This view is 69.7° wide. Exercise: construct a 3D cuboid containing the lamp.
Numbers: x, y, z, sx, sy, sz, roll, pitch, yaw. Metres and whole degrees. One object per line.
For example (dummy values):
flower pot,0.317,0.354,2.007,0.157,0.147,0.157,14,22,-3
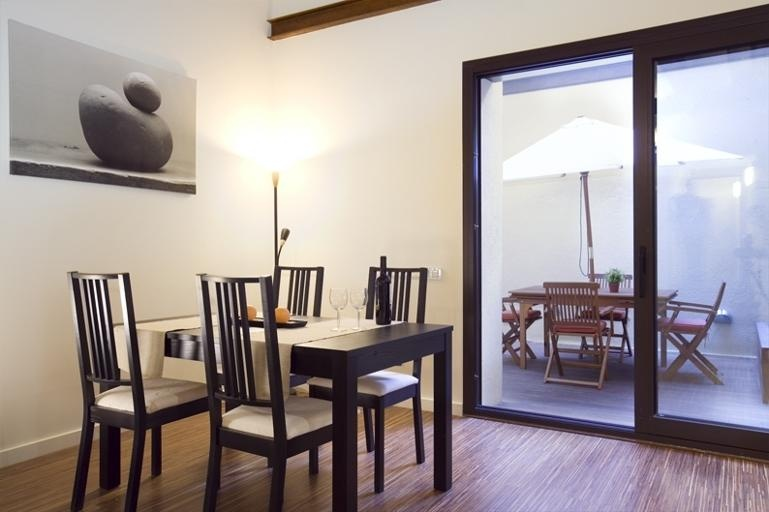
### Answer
lamp,-1.059,-0.604,5.514,0.324,1.423,0.704,-2,8,-16
